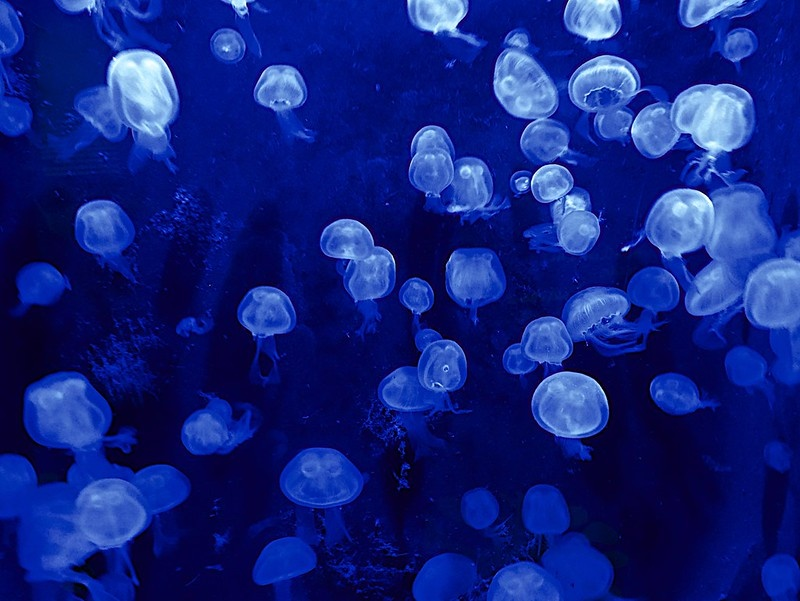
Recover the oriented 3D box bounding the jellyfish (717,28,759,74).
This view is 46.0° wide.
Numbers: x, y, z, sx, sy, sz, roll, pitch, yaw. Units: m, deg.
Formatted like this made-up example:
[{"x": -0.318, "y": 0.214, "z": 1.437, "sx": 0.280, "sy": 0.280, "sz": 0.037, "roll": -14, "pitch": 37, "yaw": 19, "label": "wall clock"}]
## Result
[{"x": 2.905, "y": -2.218, "z": 8.068, "sx": 0.337, "sy": 0.208, "sz": 0.328, "roll": -3, "pitch": -21, "yaw": -5, "label": "jellyfish"}]
